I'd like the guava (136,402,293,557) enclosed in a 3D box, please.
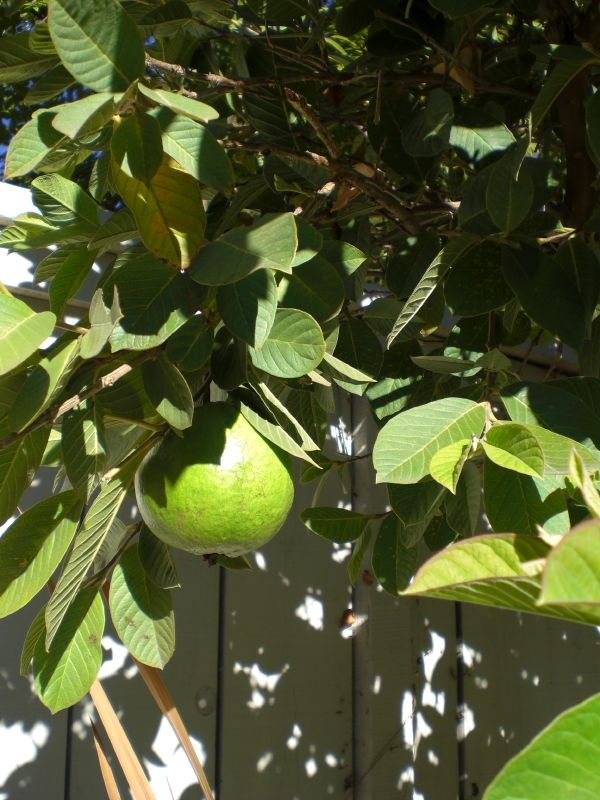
[{"bbox_3d":[-0.098,0.078,0.828,0.150,0.130,0.142,-11,-2,4],"label":"guava"}]
